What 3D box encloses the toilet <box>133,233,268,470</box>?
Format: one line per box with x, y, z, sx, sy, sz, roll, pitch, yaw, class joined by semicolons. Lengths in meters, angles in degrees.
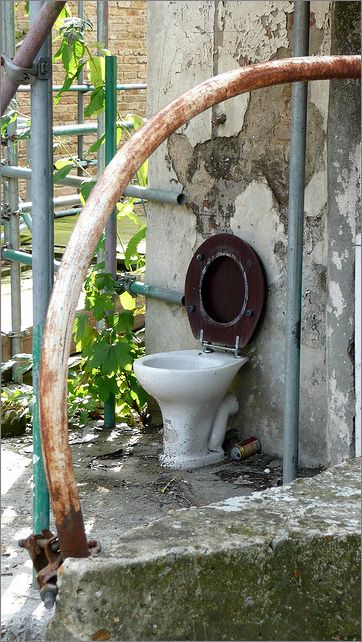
0.038;0.106;2.828;0.408;0.824;0.421;-5;9;-35;toilet
